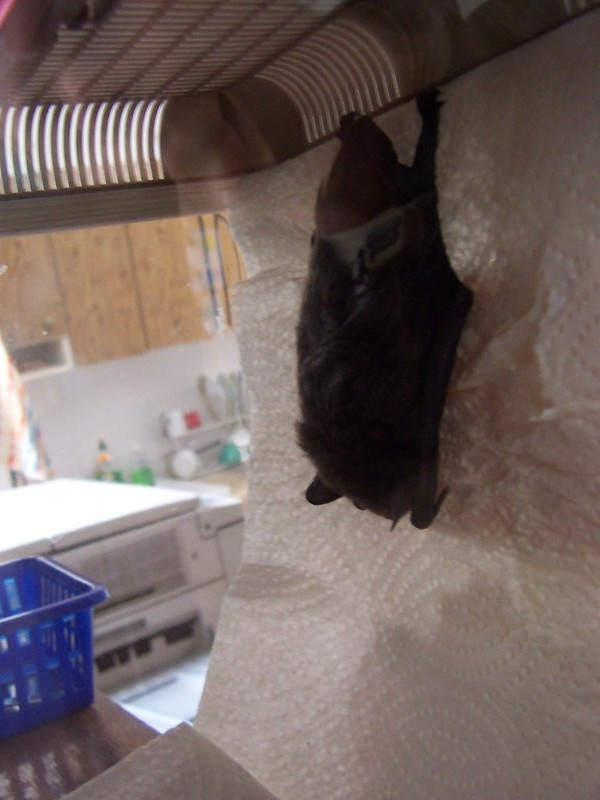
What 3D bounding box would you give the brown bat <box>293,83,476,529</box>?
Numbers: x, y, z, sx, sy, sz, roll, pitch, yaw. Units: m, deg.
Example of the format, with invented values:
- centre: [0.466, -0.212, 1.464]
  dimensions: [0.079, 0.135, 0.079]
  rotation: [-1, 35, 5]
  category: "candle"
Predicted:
- centre: [0.047, -0.047, 0.443]
  dimensions: [0.103, 0.282, 0.128]
  rotation: [-24, 24, -28]
  category: "brown bat"
